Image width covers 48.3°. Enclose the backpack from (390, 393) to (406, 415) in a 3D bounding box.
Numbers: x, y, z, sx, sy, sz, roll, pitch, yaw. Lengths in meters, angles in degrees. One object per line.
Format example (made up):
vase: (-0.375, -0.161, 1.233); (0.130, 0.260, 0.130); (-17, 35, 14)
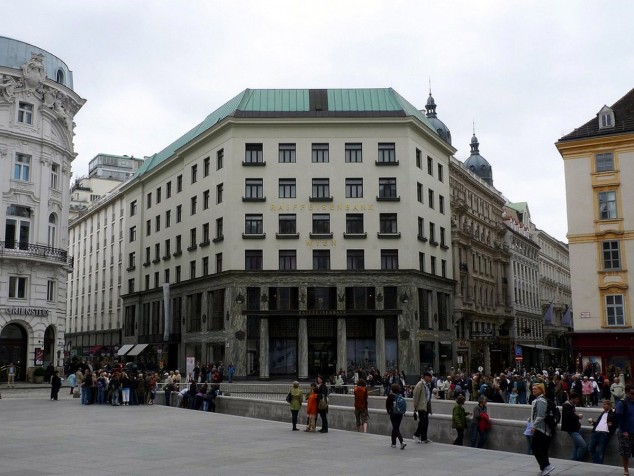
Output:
backpack: (3.051, 6.200, 26.498); (0.462, 0.773, 0.459); (-2, -14, 11)
